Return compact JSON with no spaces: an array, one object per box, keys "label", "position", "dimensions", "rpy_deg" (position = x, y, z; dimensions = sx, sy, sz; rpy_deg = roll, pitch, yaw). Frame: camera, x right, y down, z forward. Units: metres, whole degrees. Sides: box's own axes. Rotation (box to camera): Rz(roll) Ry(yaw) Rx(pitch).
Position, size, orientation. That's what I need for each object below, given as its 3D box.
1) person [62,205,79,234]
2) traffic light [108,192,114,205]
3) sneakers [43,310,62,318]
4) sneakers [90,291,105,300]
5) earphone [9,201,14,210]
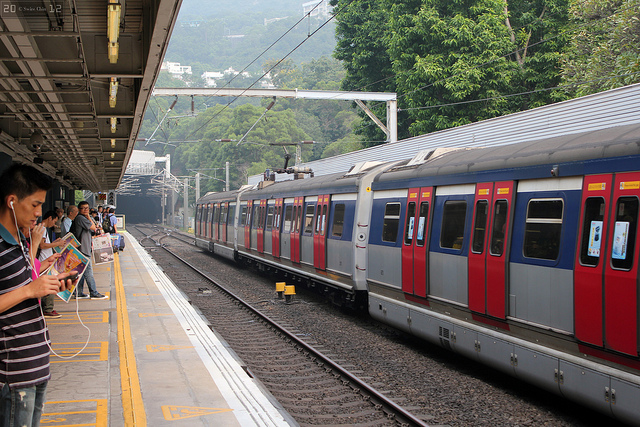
[{"label":"person","position":[-7.108,0.197,13.488],"dimensions":[0.308,0.939,0.358],"rpy_deg":[17,30,-31]},{"label":"traffic light","position":[-19.610,-1.498,44.355],"dimensions":[0.533,1.268,1.502],"rpy_deg":[1,-1,-28]},{"label":"sneakers","position":[-6.620,2.501,11.733],"dimensions":[0.473,0.197,0.169],"rpy_deg":[2,-4,-6]},{"label":"sneakers","position":[-6.799,2.538,14.548],"dimensions":[0.491,0.182,0.176],"rpy_deg":[0,0,-13]},{"label":"earphone","position":[-2.391,-0.066,3.673],"dimensions":[0.027,0.046,0.012],"rpy_deg":[-6,7,-3]}]
